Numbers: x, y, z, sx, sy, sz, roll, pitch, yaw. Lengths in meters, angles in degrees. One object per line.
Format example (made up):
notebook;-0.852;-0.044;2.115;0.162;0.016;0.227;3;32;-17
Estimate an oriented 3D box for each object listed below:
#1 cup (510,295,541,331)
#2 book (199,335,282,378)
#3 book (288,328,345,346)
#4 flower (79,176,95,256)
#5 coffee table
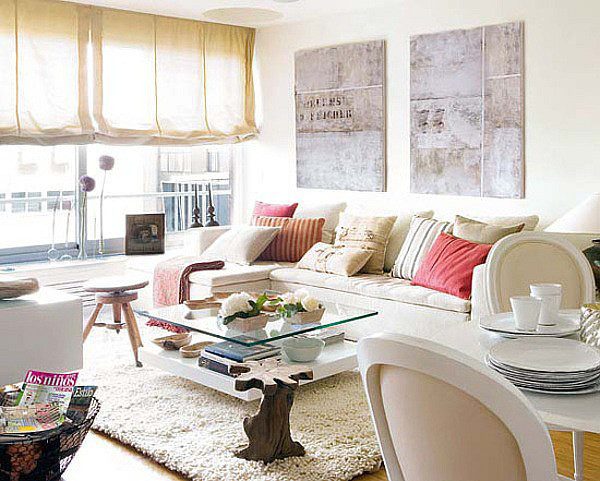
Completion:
cup;0.692;0.218;1.392;0.098;0.097;0.097;-1;1;0
book;-0.361;0.687;2.729;0.262;0.111;0.275;2;-1;-43
book;0.100;0.635;2.967;0.172;0.042;0.174;2;3;43
flower;-2.248;-0.241;4.715;0.149;0.857;0.444;-5;9;-32
coffee table;-0.364;0.524;3.432;1.503;0.371;1.591;-11;-6;-10
